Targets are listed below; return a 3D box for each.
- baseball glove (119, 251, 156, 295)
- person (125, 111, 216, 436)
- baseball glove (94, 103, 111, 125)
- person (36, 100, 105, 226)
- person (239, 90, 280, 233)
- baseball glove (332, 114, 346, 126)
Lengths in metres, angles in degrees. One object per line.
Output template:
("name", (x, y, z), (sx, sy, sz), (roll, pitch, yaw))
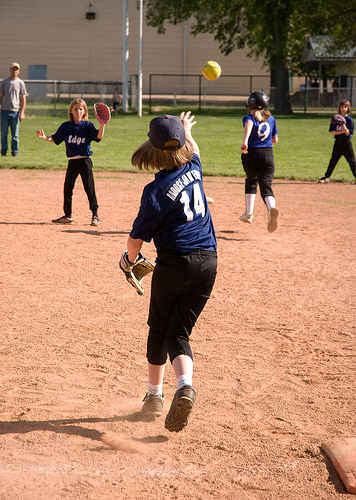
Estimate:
("baseball glove", (-0.199, 0.095, 3.093), (0.170, 0.206, 0.086), (-27, 2, -28))
("person", (-0.036, 0.180, 2.956), (0.458, 1.647, 0.810), (1, 14, -4))
("baseball glove", (-0.971, -1.782, 7.723), (0.230, 0.271, 0.124), (-13, -7, -21))
("person", (-1.283, -1.132, 7.978), (0.824, 1.673, 0.404), (9, 15, 24))
("person", (1.119, -1.182, 8.032), (0.610, 1.905, 1.563), (4, 14, 8))
("baseball glove", (3.160, -2.575, 11.767), (0.265, 0.182, 0.202), (22, 14, 22))
